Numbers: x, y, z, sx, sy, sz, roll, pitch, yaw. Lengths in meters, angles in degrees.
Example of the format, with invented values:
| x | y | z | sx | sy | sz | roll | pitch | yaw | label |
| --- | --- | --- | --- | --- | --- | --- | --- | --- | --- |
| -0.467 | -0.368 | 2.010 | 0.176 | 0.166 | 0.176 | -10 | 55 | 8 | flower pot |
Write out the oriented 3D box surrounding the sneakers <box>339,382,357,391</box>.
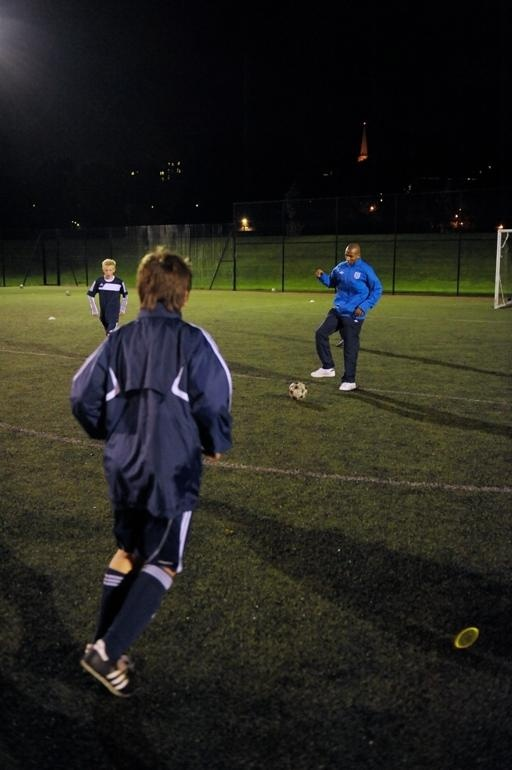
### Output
| x | y | z | sx | sy | sz | roll | pitch | yaw | label |
| --- | --- | --- | --- | --- | --- | --- | --- | --- | --- |
| 1.190 | 0.024 | 7.930 | 0.089 | 0.116 | 0.252 | 2 | 3 | 34 | sneakers |

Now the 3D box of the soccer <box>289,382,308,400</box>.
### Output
| x | y | z | sx | sy | sz | roll | pitch | yaw | label |
| --- | --- | --- | --- | --- | --- | --- | --- | --- | --- |
| 0.522 | 0.078 | 7.428 | 0.195 | 0.216 | 0.206 | 4 | 5 | 14 | soccer |

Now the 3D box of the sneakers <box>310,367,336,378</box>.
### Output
| x | y | z | sx | sy | sz | roll | pitch | yaw | label |
| --- | --- | --- | --- | --- | --- | --- | --- | --- | --- |
| 0.977 | -0.160 | 8.762 | 0.343 | 0.162 | 0.144 | 1 | 12 | 5 | sneakers |

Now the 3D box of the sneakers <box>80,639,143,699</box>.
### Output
| x | y | z | sx | sy | sz | roll | pitch | yaw | label |
| --- | --- | --- | --- | --- | --- | --- | --- | --- | --- |
| -0.531 | 1.040 | 2.194 | 0.102 | 0.246 | 0.085 | -35 | 22 | -11 | sneakers |

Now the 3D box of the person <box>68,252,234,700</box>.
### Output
| x | y | z | sx | sy | sz | roll | pitch | yaw | label |
| --- | --- | --- | --- | --- | --- | --- | --- | --- | --- |
| -0.401 | 0.298 | 2.291 | 0.580 | 1.582 | 0.479 | -3 | 9 | -19 | person |
